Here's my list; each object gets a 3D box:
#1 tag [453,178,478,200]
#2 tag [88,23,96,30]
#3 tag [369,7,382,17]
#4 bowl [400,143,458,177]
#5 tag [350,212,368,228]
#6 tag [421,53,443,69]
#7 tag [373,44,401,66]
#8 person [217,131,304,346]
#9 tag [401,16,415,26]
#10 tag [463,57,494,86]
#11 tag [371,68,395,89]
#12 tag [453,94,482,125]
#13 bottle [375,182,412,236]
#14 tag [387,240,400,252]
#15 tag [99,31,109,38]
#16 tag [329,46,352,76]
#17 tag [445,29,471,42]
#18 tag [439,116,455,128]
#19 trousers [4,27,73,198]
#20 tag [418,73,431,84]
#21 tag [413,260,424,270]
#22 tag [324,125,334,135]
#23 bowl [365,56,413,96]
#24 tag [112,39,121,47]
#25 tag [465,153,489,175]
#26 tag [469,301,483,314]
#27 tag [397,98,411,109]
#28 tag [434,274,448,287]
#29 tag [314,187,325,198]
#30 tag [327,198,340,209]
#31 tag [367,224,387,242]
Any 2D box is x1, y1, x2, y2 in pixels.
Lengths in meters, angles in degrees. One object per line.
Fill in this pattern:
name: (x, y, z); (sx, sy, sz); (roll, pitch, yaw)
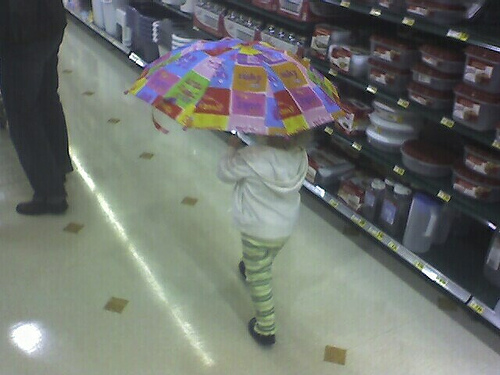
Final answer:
tag: (1.414, 0.010, 2.762); (0.030, 0.091, 0.119); (-21, 38, -31)
tag: (-2.443, -2.481, 6.464); (0.085, 0.088, 0.021); (0, -11, 22)
tag: (0.870, -1.216, 2.916); (0.046, 0.043, 0.108); (-16, 38, -27)
bowl: (1.262, -0.205, 2.975); (0.253, 0.100, 0.278); (9, 32, -6)
tag: (0.871, 0.257, 3.366); (0.077, 0.039, 0.131); (-18, 40, -30)
tag: (1.204, -0.841, 2.790); (0.016, 0.064, 0.160); (-20, 40, -33)
tag: (0.977, -0.958, 3.031); (0.043, 0.119, 0.182); (-14, 47, -43)
person: (0.045, 0.283, 2.429); (0.402, 1.264, 0.351); (16, 33, 21)
tag: (1.028, -1.083, 2.740); (0.086, 0.041, 0.050); (29, 41, 33)
tag: (1.375, -0.701, 2.533); (0.035, 0.158, 0.149); (-21, 34, -35)
tag: (0.976, -0.803, 3.098); (0.046, 0.104, 0.196); (0, 31, -45)
tag: (1.347, -0.489, 2.626); (0.152, 0.154, 0.161); (17, 27, 0)
bottle: (1.101, 0.160, 3.194); (0.129, 0.372, 0.167); (-14, 35, -26)
tag: (1.075, 0.432, 3.166); (0.050, 0.022, 0.072); (-24, 58, -34)
tag: (-2.155, -2.258, 6.193); (0.019, 0.039, 0.258); (-28, 55, -19)
tag: (0.704, -0.993, 3.304); (0.076, 0.168, 0.207); (-9, 22, -34)
tag: (1.238, -0.911, 2.512); (0.107, 0.061, 0.022); (35, 1, 44)
tag: (1.278, -0.427, 2.733); (0.021, 0.051, 0.076); (28, 6, -43)
trousers: (-1.508, -0.484, 3.065); (0.455, 1.177, 0.242); (-17, 36, -29)
tag: (1.171, -0.736, 2.833); (0.019, 0.063, 0.094); (-6, 25, -40)
tag: (1.218, 0.557, 3.045); (0.048, 0.018, 0.067); (-34, 57, 0)
tag: (0.650, -0.482, 3.516); (0.075, 0.054, 0.019); (41, 12, 36)
bowl: (0.992, -0.808, 3.107); (0.229, 0.157, 0.311); (-29, 53, -35)
tag: (-1.894, -2.037, 5.934); (0.068, 0.010, 0.216); (-37, 52, 9)
tag: (1.443, -0.156, 2.690); (0.123, 0.098, 0.046); (25, -4, 4)
tag: (1.510, 0.795, 2.788); (0.043, 0.015, 0.062); (-40, 54, -5)
tag: (1.078, -0.597, 2.964); (0.040, 0.039, 0.093); (-24, 42, -36)
tag: (1.339, 0.645, 2.951); (0.059, 0.063, 0.111); (10, 22, -11)
tag: (0.600, 0.036, 3.607); (0.045, 0.044, 0.103); (-19, 40, -31)
tag: (0.676, 0.129, 3.491); (0.057, 0.021, 0.081); (-47, 54, -1)
tag: (0.975, 0.350, 3.256); (0.066, 0.043, 0.151); (-18, 39, -30)
